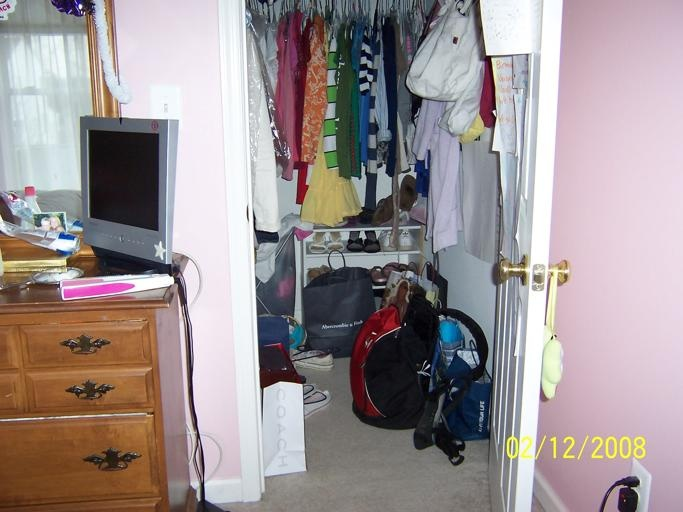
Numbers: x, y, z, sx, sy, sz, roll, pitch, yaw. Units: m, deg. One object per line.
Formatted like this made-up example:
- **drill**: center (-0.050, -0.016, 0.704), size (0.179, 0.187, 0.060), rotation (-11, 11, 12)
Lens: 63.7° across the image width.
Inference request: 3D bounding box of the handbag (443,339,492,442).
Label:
- **handbag**: center (0.632, 0.683, 2.722), size (0.212, 0.441, 0.341), rotation (2, 7, 14)

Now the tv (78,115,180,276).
- **tv**: center (-0.713, -0.203, 1.829), size (0.411, 0.560, 0.066), rotation (9, 11, 26)

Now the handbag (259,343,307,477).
- **handbag**: center (-0.280, 0.715, 2.575), size (0.205, 0.523, 0.340), rotation (-1, 7, -9)

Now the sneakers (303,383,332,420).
- **sneakers**: center (-0.131, 0.786, 3.028), size (0.150, 0.070, 0.298), rotation (0, 7, -4)

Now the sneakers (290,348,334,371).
- **sneakers**: center (-0.175, 0.634, 3.406), size (0.169, 0.069, 0.134), rotation (2, 7, 4)

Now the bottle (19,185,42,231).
- **bottle**: center (-1.148, -0.182, 2.022), size (0.055, 0.153, 0.037), rotation (1, 7, 3)

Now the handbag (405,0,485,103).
- **handbag**: center (0.447, -0.890, 2.409), size (0.344, 0.417, 0.086), rotation (4, 8, 26)

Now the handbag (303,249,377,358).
- **handbag**: center (-0.016, 0.322, 3.488), size (0.477, 0.789, 0.313), rotation (-4, 12, -6)

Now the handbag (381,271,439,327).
- **handbag**: center (0.409, 0.255, 3.240), size (0.222, 0.373, 0.116), rotation (4, 0, 36)

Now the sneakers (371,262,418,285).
- **sneakers**: center (0.315, 0.110, 3.783), size (0.160, 0.077, 0.237), rotation (-3, 17, -5)
